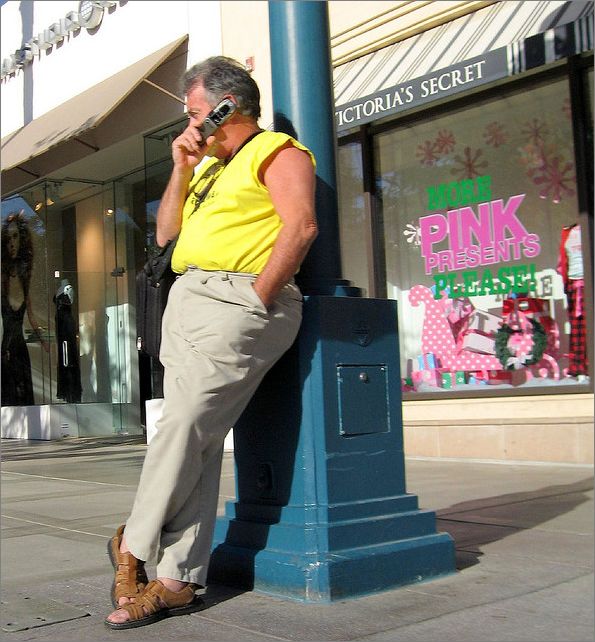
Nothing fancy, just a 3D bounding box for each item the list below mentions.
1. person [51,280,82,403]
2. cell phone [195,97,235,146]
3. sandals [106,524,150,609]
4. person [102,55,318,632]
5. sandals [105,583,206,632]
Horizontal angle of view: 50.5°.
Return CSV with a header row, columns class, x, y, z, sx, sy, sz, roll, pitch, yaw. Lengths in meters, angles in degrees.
class,x,y,z,sx,sy,sz,roll,pitch,yaw
person,-5.076,0.453,13.917,0.512,2.720,0.216,-3,-5,-23
cell phone,-0.290,-0.733,2.350,0.239,0.069,0.056,-41,11,16
sandals,-0.548,0.816,2.089,0.118,0.264,0.127,-8,-16,-31
person,-0.248,0.030,2.307,0.782,1.908,0.631,1,-4,30
sandals,-0.449,0.897,2.012,0.301,0.095,0.097,0,10,-35
